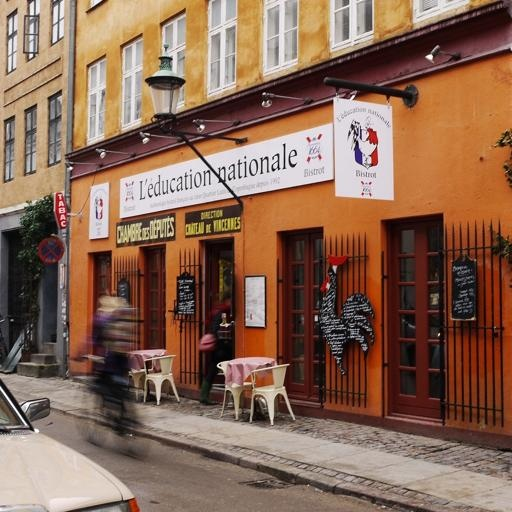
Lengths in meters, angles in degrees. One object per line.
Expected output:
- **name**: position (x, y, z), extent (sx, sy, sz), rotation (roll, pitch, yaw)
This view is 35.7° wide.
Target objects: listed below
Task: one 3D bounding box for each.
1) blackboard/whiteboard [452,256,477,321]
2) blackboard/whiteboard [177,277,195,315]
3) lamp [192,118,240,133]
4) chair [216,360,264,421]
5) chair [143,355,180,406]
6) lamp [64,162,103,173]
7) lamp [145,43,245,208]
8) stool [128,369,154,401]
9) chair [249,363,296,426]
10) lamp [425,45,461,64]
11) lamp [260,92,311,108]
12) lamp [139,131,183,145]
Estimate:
- **blackboard/whiteboard**: position (2.580, 0.398, 9.955), extent (0.125, 0.806, 0.400), rotation (-4, 5, -35)
- **blackboard/whiteboard**: position (-1.294, 0.735, 14.740), extent (0.050, 0.877, 0.545), rotation (4, -7, -33)
- **lamp**: position (-0.687, -2.342, 14.237), extent (0.871, 0.345, 0.230), rotation (8, 11, 23)
- **chair**: position (-0.204, 2.105, 12.233), extent (0.465, 0.794, 0.488), rotation (10, -14, -26)
- **chair**: position (-1.703, 2.189, 14.165), extent (0.535, 0.913, 0.605), rotation (-2, 2, -29)
- **lamp**: position (-4.131, -2.111, 18.634), extent (0.434, 0.220, 1.473), rotation (-4, 6, -29)
- **lamp**: position (-1.111, -2.107, 12.452), extent (1.243, 2.399, 1.434), rotation (-2, -2, -13)
- **stool**: position (-2.067, 2.325, 14.415), extent (0.398, 0.484, 0.436), rotation (-8, -2, 23)
- **chair**: position (0.201, 2.042, 11.676), extent (0.523, 0.889, 0.493), rotation (2, -8, -37)
- **lamp**: position (2.331, -2.629, 10.286), extent (0.295, 0.252, 0.592), rotation (-5, 6, -39)
- **lamp**: position (0.425, -2.480, 12.539), extent (0.280, 0.267, 1.101), rotation (-5, 6, -38)
- **lamp**: position (-2.034, -2.351, 15.656), extent (0.501, 0.182, 0.515), rotation (3, -3, -34)
